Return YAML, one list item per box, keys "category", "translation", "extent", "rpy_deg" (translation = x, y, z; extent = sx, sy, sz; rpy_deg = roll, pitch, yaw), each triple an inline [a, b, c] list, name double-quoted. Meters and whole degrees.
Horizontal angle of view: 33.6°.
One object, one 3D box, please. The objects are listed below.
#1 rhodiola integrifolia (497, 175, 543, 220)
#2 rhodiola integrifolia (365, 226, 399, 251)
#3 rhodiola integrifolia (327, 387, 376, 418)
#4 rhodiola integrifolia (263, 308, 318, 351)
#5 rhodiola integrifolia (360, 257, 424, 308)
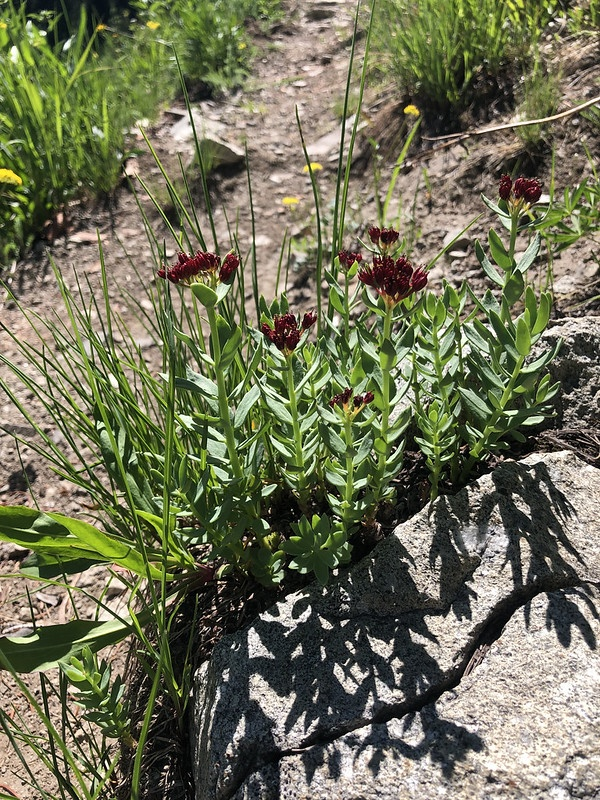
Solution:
- category: "rhodiola integrifolia"
  translation: [0.486, -0.455, 2.241]
  extent: [0.104, 0.117, 0.097]
  rpy_deg: [3, -1, -2]
- category: "rhodiola integrifolia"
  translation: [0.184, -0.347, 2.190]
  extent: [0.059, 0.064, 0.060]
  rpy_deg: [17, 17, 37]
- category: "rhodiola integrifolia"
  translation: [0.112, 0.002, 2.147]
  extent: [0.066, 0.050, 0.069]
  rpy_deg: [1, 3, 1]
- category: "rhodiola integrifolia"
  translation: [-0.013, -0.155, 2.111]
  extent: [0.096, 0.073, 0.095]
  rpy_deg: [-23, 11, -24]
- category: "rhodiola integrifolia"
  translation: [0.196, -0.255, 2.117]
  extent: [0.107, 0.102, 0.115]
  rpy_deg: [4, 5, -39]
